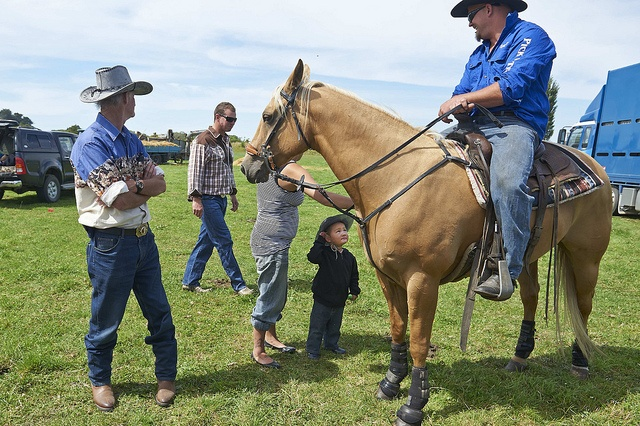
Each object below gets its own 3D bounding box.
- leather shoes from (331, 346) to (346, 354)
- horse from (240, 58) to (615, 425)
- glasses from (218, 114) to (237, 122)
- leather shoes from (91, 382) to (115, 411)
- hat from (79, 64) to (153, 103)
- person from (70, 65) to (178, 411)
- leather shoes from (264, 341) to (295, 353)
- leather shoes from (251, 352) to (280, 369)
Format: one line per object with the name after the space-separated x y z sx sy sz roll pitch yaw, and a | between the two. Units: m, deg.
0.255 1.894 6.329 0.228 0.145 0.078 -1 3 11 | leather shoes
1.343 0.658 5.695 4.871 3.667 1.532 -2 10 -8 | horse
-1.511 -1.588 7.660 0.160 0.132 0.387 -10 16 -42 | glasses
-2.447 2.093 5.170 0.140 0.151 0.398 8 -5 -37 | leather shoes
-2.435 -1.481 5.248 0.586 0.418 0.279 -3 13 -21 | hat
-2.251 0.257 5.244 0.995 3.810 1.138 -3 13 -20 | person
-0.563 1.852 6.352 0.400 0.109 0.141 -2 -7 26 | leather shoes
-0.715 1.949 6.037 0.417 0.156 0.141 3 0 19 | leather shoes
